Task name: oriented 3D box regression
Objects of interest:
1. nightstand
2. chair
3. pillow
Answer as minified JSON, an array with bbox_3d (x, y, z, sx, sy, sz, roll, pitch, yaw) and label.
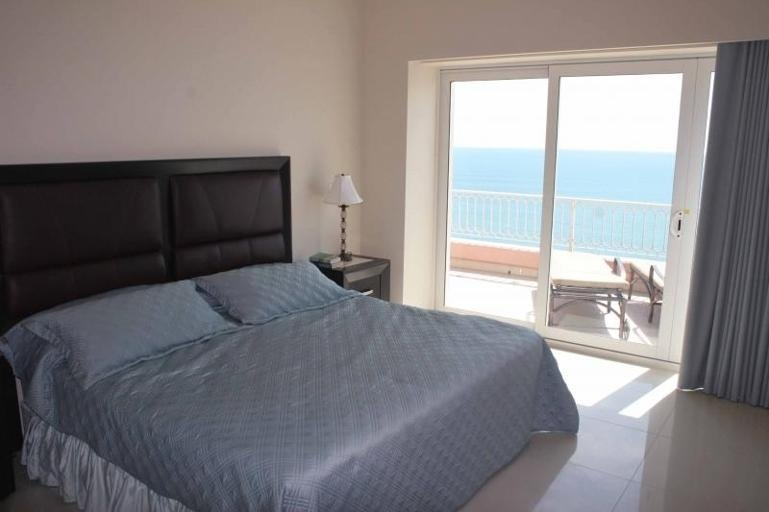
[{"bbox_3d":[-0.343,0.125,5.421,0.500,0.731,0.663,6,16,33],"label":"nightstand"},{"bbox_3d":[2.227,0.272,5.199,0.860,0.456,0.822,7,15,29],"label":"chair"},{"bbox_3d":[-1.460,0.416,3.843,2.127,0.450,0.659,-10,18,-42],"label":"pillow"}]
